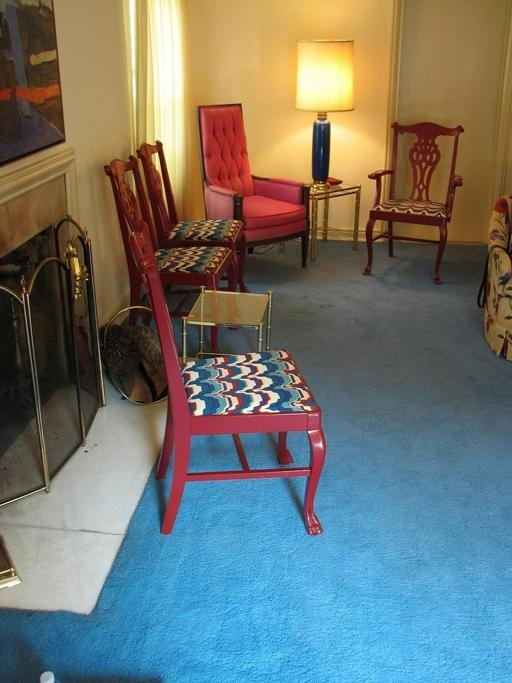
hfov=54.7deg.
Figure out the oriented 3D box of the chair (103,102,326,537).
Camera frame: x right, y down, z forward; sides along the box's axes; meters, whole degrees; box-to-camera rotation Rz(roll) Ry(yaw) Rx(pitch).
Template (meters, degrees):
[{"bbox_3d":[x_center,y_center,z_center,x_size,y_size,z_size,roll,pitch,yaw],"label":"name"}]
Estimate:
[{"bbox_3d":[-0.219,-0.213,2.410,0.785,1.387,2.119,-4,27,-6],"label":"chair"}]
